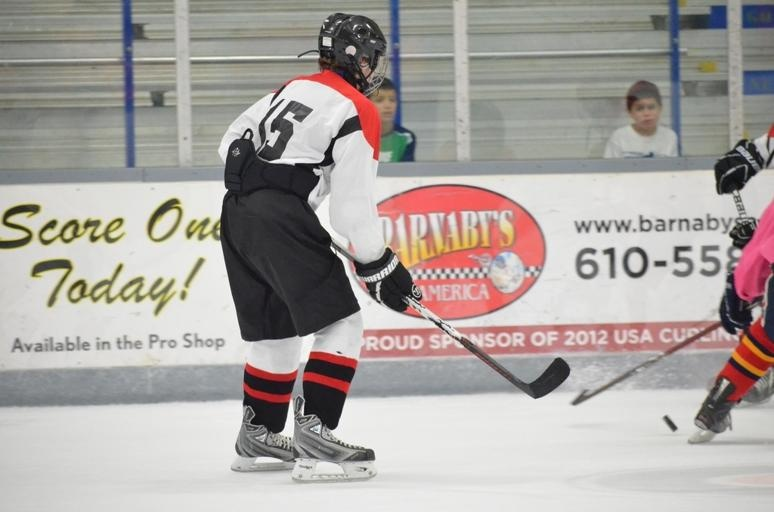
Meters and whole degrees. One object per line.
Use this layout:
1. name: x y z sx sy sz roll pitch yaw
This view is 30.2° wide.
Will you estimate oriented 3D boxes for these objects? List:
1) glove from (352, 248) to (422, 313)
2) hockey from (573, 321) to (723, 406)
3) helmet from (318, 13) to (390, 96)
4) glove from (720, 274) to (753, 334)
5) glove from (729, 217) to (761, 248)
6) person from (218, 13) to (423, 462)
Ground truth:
1. glove: -0.008 0.091 7.372 0.279 0.362 0.145 -33 20 11
2. hockey: 1.503 0.654 8.424 1.080 0.134 0.093 -23 -21 18
3. helmet: -0.157 -1.046 7.390 0.458 0.385 0.356 0 12 -43
4. glove: 1.837 0.262 7.748 0.233 0.289 0.115 -2 3 45
5. glove: 1.932 -0.122 7.792 0.153 0.141 0.106 11 14 -16
6. person: -0.391 -0.052 7.313 0.959 2.349 0.534 3 9 -7
